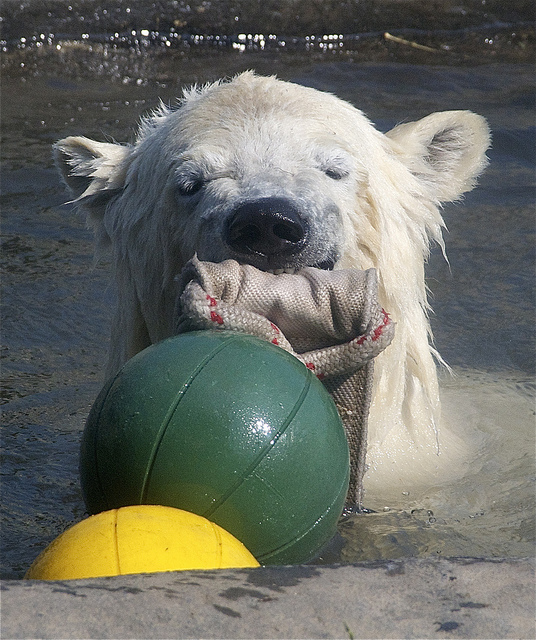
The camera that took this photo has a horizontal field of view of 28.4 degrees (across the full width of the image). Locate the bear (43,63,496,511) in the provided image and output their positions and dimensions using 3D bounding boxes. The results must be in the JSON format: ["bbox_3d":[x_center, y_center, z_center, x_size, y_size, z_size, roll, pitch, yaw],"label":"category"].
[{"bbox_3d":[0.019,-0.217,4.310,1.491,1.296,1.405,4,19,25],"label":"bear"}]

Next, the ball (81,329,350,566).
[{"bbox_3d":[-0.126,0.339,2.740,0.612,0.420,0.657,0,31,0],"label":"ball"}]

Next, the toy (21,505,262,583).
[{"bbox_3d":[-0.303,0.573,2.591,0.558,0.185,0.257,5,38,0],"label":"toy"}]
